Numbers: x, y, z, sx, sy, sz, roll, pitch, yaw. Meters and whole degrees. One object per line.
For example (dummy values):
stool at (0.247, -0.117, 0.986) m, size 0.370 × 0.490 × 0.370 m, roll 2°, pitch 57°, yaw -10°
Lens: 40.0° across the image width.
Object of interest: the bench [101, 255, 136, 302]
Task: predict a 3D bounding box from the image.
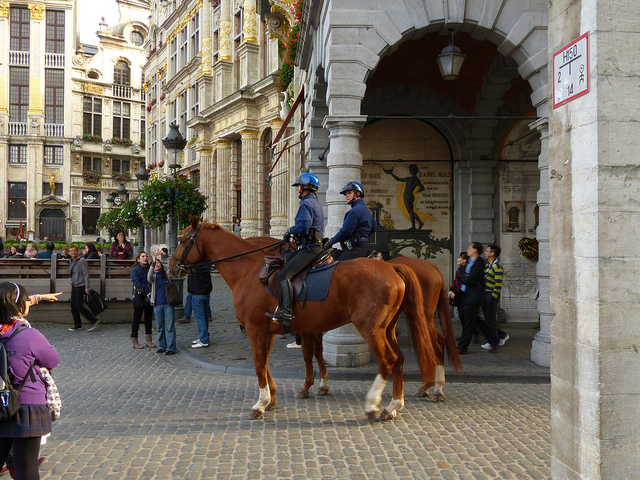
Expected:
bench at (-5.039, 0.792, 21.964) m, size 0.899 × 0.796 × 0.661 m, roll -20°, pitch 17°, yaw -35°

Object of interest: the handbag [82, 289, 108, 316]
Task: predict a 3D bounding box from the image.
handbag at (-5.367, 1.480, 20.877) m, size 0.349 × 0.621 × 0.463 m, roll -3°, pitch 33°, yaw 47°

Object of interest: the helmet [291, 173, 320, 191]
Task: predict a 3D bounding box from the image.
helmet at (-0.233, -0.979, 14.806) m, size 0.389 × 0.194 × 0.281 m, roll 10°, pitch 4°, yaw 11°

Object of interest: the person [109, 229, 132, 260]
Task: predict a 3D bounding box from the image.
person at (-5.742, 0.151, 25.472) m, size 0.717 × 0.894 × 0.579 m, roll -4°, pitch 13°, yaw -13°

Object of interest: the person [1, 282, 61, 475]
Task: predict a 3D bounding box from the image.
person at (-3.962, 1.882, 11.936) m, size 0.668 × 2.592 × 0.310 m, roll -1°, pitch 1°, yaw -18°

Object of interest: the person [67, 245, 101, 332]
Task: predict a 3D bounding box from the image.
person at (-5.629, 1.135, 20.884) m, size 0.644 × 1.994 × 0.722 m, roll -1°, pitch 1°, yaw -16°

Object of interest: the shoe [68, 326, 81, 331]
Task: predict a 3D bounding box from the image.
shoe at (-5.767, 2.081, 20.692) m, size 0.258 × 0.100 × 0.100 m, roll 4°, pitch -2°, yaw -5°

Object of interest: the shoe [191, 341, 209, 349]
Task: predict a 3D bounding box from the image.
shoe at (-2.499, 2.192, 18.300) m, size 0.372 × 0.145 × 0.130 m, roll 3°, pitch -5°, yaw 3°

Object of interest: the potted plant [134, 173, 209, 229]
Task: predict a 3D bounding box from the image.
potted plant at (-4.030, -1.201, 25.422) m, size 1.868 × 1.578 × 1.955 m, roll -1°, pitch 0°, yaw -45°

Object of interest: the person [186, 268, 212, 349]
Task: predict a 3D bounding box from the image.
person at (-2.579, 1.488, 18.774) m, size 0.563 × 2.058 × 0.496 m, roll -2°, pitch -44°, yaw -7°

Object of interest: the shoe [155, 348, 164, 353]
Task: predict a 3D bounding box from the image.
shoe at (-3.328, 2.286, 18.187) m, size 0.244 × 0.094 × 0.071 m, roll 0°, pitch 1°, yaw 42°

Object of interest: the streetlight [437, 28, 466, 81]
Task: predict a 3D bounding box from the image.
streetlight at (2.597, -3.698, 17.498) m, size 0.520 × 0.931 × 1.050 m, roll -1°, pitch 1°, yaw 8°

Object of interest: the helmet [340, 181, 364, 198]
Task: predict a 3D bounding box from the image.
helmet at (0.581, -0.896, 15.543) m, size 0.354 × 0.196 × 0.255 m, roll 6°, pitch -5°, yaw -7°

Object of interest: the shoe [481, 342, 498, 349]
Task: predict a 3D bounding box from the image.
shoe at (3.468, 2.173, 17.964) m, size 0.165 × 0.158 × 0.382 m, roll -1°, pitch 2°, yaw -39°
